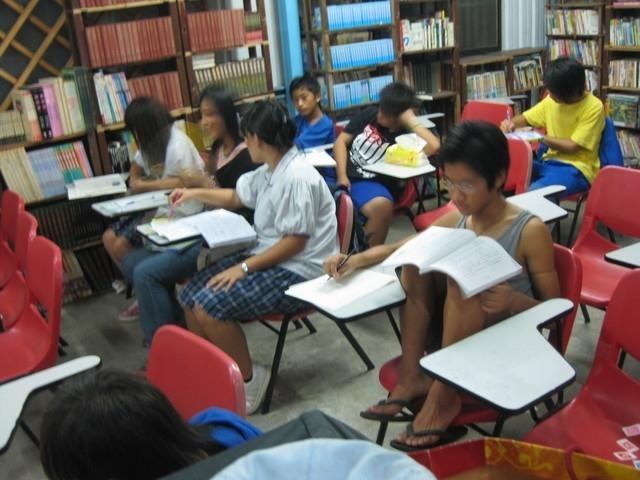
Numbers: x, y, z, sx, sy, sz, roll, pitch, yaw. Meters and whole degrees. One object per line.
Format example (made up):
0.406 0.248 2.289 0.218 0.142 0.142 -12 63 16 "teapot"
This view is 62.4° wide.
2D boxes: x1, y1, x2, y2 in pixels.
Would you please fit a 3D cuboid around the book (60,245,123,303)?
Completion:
-1.793 0.267 4.139 0.436 0.363 0.132 -5 -7 -39 "book"

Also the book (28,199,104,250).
-1.871 -0.128 3.906 0.491 0.386 0.175 -12 57 2 "book"

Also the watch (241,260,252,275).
-0.362 0.133 2.541 0.037 0.056 0.061 -22 51 -13 "watch"

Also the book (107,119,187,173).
-1.091 -0.590 3.330 0.293 0.337 0.158 6 31 4 "book"

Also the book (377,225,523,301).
0.457 0.055 1.842 0.345 0.111 0.451 -23 23 -37 "book"

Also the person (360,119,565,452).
0.508 0.123 1.959 0.608 1.093 0.503 5 0 -38 "person"

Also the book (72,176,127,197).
-1.429 -0.338 3.364 0.250 0.085 0.186 -12 21 -27 "book"

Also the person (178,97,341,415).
-0.355 0.111 2.770 0.811 1.626 0.595 1 3 -11 "person"

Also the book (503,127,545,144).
1.377 -0.717 3.588 0.236 0.062 0.234 -14 23 -24 "book"

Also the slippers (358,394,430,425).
0.266 0.641 1.942 0.254 0.072 0.104 -3 8 -25 "slippers"

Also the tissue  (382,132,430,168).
0.570 -0.628 3.547 0.216 0.156 0.235 6 16 25 "tissue "

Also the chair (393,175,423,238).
0.660 -0.281 3.971 0.289 0.475 0.291 -3 13 -16 "chair"

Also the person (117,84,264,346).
-0.729 -0.085 3.132 0.741 1.577 0.497 -2 8 -17 "person"

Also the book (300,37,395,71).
0.407 -1.754 5.008 0.747 0.236 0.094 -21 20 -31 "book"

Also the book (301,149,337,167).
-0.007 -0.513 3.363 0.147 0.065 0.235 -9 39 -22 "book"

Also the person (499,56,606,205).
1.747 -0.645 4.003 0.688 1.405 0.637 -11 24 -8 "person"

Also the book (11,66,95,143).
-1.884 -0.938 3.715 0.417 0.467 0.324 -16 -5 33 "book"

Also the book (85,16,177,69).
-1.380 -1.447 3.877 0.652 0.283 0.058 -20 19 -31 "book"

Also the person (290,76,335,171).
-0.133 -0.888 4.244 0.469 0.825 0.521 -6 15 -1 "person"
